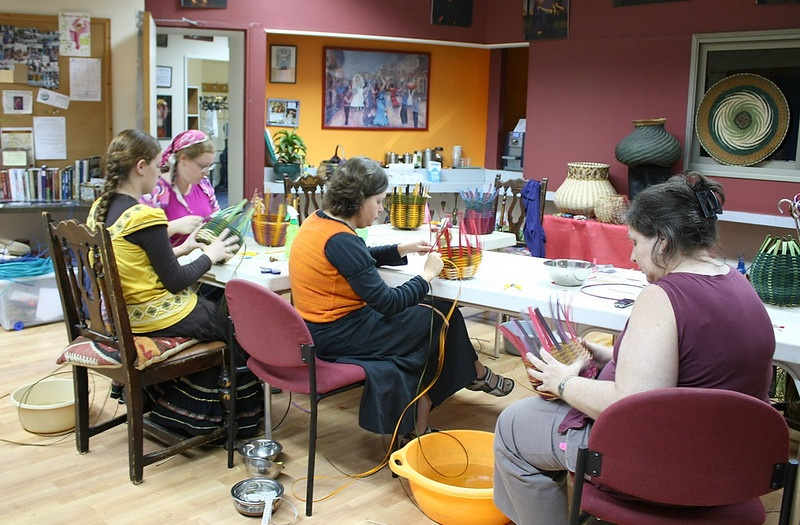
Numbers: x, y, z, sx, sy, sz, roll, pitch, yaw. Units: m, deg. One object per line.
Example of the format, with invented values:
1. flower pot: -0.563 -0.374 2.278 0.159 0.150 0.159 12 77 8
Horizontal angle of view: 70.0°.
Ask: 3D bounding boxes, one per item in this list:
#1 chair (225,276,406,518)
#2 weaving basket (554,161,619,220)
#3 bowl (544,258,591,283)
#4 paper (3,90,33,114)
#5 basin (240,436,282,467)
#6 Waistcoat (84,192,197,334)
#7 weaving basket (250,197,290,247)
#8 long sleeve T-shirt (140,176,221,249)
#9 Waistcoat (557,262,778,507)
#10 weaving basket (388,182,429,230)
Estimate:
1. chair: -0.487 0.584 2.667 0.732 1.088 0.405 -1 11 -3
2. weaving basket: 1.881 -0.762 5.853 0.556 0.462 0.558 -3 11 -22
3. bowl: 0.815 0.043 2.759 0.149 0.062 0.153 6 12 -1
4. paper: -3.489 -1.472 5.197 0.210 0.188 0.030 -3 12 -20
5. basin: -0.699 0.944 2.868 0.140 0.053 0.140 5 13 -1
6. Waistcoat: -1.271 0.031 2.788 0.362 0.584 0.599 -16 20 -37
7. weaving basket: -0.825 -0.250 3.634 0.386 0.244 0.482 -1 14 -20
8. long sleeve T-shirt: -1.246 -0.277 3.206 0.214 0.388 0.392 12 17 36
9. Waistcoat: 0.892 0.249 2.009 0.406 0.577 0.451 0 9 -5
10. weaving basket: 0.088 -0.415 4.111 0.302 0.331 0.311 5 9 27
